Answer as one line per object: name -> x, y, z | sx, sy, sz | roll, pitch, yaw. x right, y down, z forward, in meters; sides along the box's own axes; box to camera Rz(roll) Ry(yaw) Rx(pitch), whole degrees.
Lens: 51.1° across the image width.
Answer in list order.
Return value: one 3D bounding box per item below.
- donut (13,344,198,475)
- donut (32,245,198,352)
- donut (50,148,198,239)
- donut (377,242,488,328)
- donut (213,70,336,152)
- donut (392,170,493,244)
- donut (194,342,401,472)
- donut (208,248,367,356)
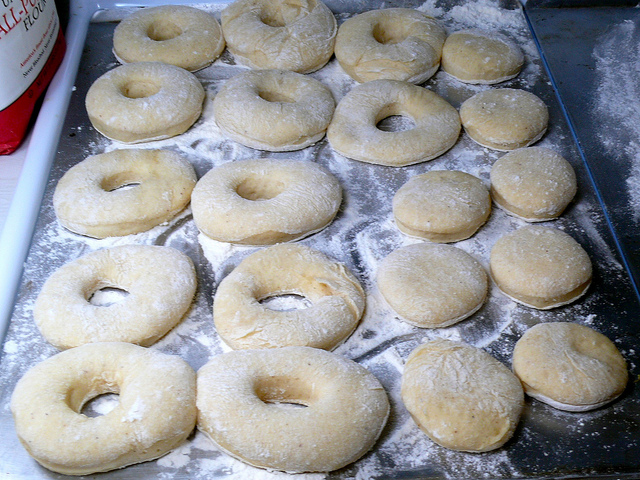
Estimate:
donut -> -0.595, 0.461, 1.895 | 0.486, 0.095, 0.385 | -20, 56, -15
donut -> -0.642, 0.172, 2.116 | 0.487, 0.086, 0.353 | -4, 54, -4
donut -> -0.671, -0.170, 2.312 | 0.423, 0.099, 0.411 | 23, 41, 26
donut -> 0.349, 0.111, 2.196 | 0.399, 0.099, 0.281 | -16, 71, -23
donut -> -0.136, -0.468, 2.576 | 0.448, 0.119, 0.398 | -21, 43, -25
donut -> 0.429, -0.086, 2.373 | 0.347, 0.091, 0.315 | 1, 21, 18
donut -> -0.069, 0.478, 1.918 | 0.561, 0.111, 0.387 | -11, 55, -9
donut -> -0.116, 0.180, 2.119 | 0.493, 0.085, 0.349 | -13, 55, -10
